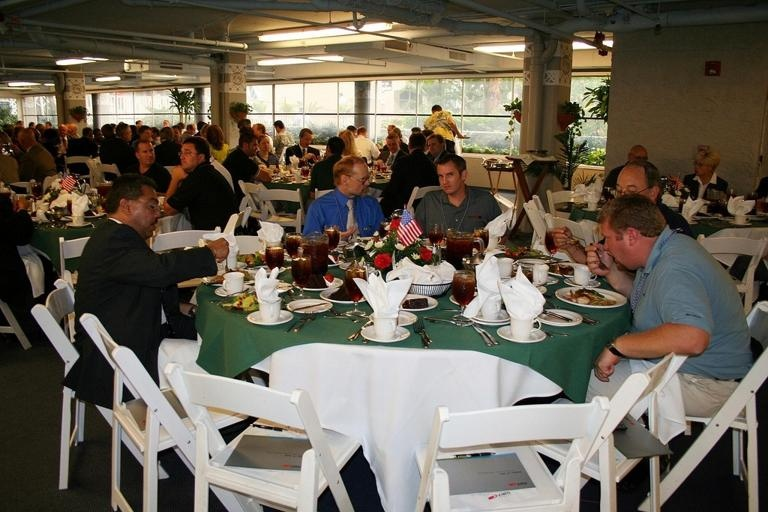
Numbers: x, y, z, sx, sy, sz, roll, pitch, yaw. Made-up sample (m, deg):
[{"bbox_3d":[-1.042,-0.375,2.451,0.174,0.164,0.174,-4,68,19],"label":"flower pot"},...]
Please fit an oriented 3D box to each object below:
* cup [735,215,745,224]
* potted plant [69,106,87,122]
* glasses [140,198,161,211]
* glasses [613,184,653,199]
[{"bbox_3d":[3.531,-0.336,5.342,0.086,0.062,0.092,1,-4,0],"label":"cup"},{"bbox_3d":[-9.575,-4.316,17.025,0.559,0.464,0.490,-2,7,-22],"label":"potted plant"},{"bbox_3d":[-1.483,-0.317,3.480,0.069,0.075,0.223,-3,11,-9],"label":"glasses"},{"bbox_3d":[1.769,-0.439,3.817,0.250,0.071,0.236,-17,21,-40],"label":"glasses"}]
